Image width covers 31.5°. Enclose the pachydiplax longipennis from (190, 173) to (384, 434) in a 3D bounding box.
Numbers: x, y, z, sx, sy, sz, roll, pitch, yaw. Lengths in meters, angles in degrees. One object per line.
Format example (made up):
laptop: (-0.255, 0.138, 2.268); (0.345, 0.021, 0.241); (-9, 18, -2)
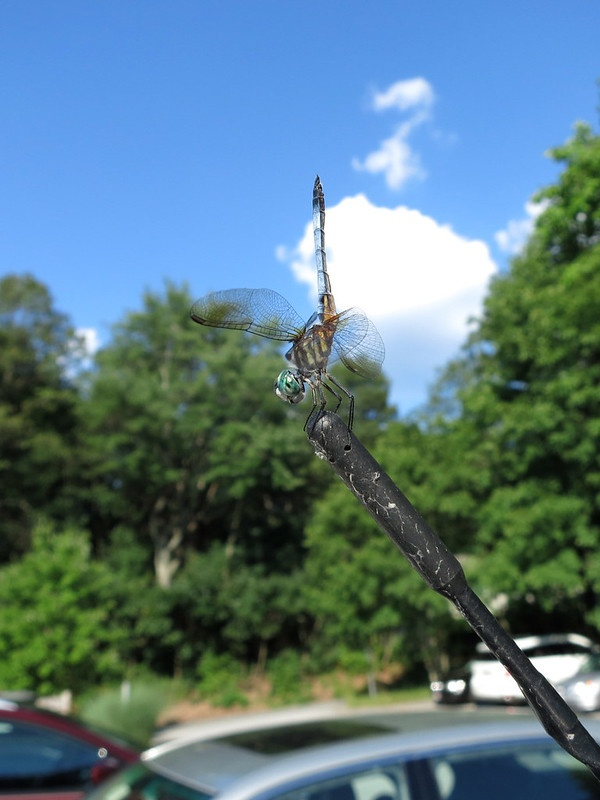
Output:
pachydiplax longipennis: (0.116, -0.264, 3.301); (0.412, 0.677, 0.669); (35, -13, 21)
